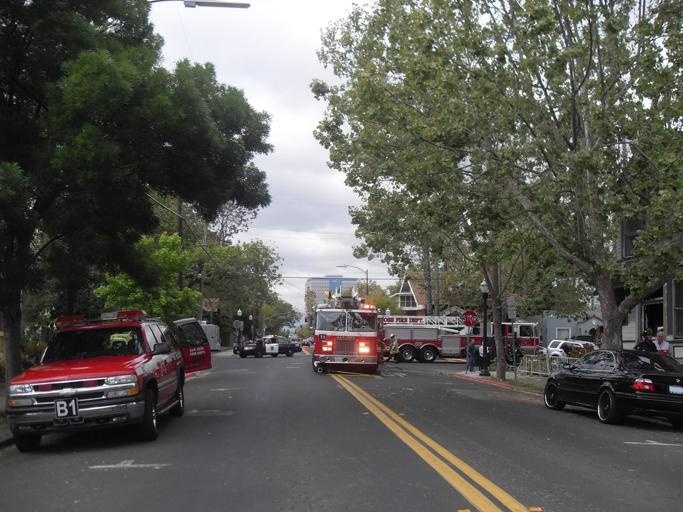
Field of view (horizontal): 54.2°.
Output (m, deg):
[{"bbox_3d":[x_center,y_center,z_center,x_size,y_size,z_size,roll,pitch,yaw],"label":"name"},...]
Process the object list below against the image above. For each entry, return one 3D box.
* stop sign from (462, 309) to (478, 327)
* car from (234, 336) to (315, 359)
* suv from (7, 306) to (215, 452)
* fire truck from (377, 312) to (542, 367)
[{"bbox_3d":[6.371,3.071,33.083,0.599,0.879,1.610,-3,-10,11],"label":"stop sign"},{"bbox_3d":[-5.258,7.418,53.663,6.332,2.425,3.136,6,-10,-30],"label":"car"},{"bbox_3d":[-4.840,2.655,14.768,2.331,2.812,5.280,-2,-10,1],"label":"suv"},{"bbox_3d":[6.528,5.764,46.829,9.821,3.668,3.594,0,-5,-2],"label":"fire truck"}]
